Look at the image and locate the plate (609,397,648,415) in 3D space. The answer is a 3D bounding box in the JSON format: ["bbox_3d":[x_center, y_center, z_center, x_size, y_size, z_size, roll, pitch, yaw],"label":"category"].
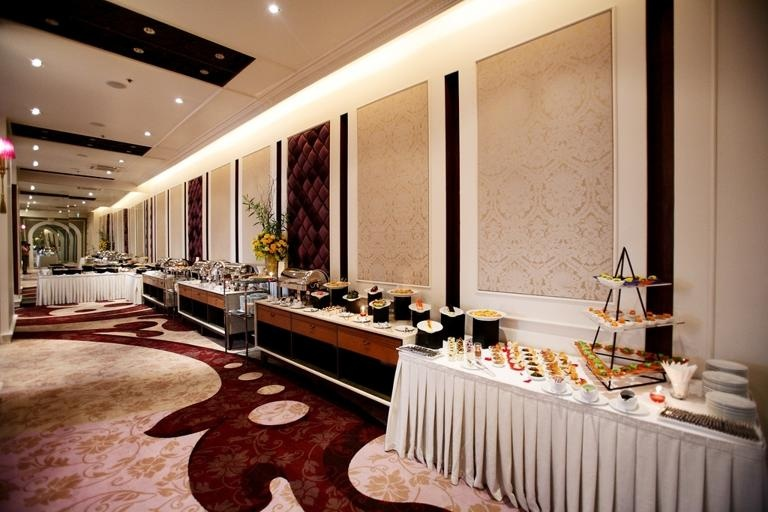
[{"bbox_3d":[2.049,1.246,3.924,0.307,0.117,0.158,0,7,0],"label":"plate"}]

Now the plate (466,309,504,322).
[{"bbox_3d":[1.084,0.624,4.963,0.342,0.093,0.315,4,8,25],"label":"plate"}]

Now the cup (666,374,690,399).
[{"bbox_3d":[2.525,1.127,4.123,0.199,0.214,0.192,0,-3,0],"label":"cup"}]

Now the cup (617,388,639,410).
[{"bbox_3d":[2.047,1.196,3.949,0.116,0.155,0.137,-21,11,33],"label":"cup"}]

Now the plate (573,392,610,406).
[{"bbox_3d":[1.773,1.219,4.011,0.295,0.072,0.130,1,7,6],"label":"plate"}]

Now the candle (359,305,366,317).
[{"bbox_3d":[-0.253,0.662,5.600,0.098,0.108,0.097,2,4,15],"label":"candle"}]

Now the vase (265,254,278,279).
[{"bbox_3d":[-1.663,0.143,6.998,0.158,0.344,0.266,-2,8,-16],"label":"vase"}]

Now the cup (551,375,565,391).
[{"bbox_3d":[1.523,1.114,4.106,0.097,0.115,0.119,-3,-14,18],"label":"cup"}]

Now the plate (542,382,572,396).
[{"bbox_3d":[1.512,1.167,4.115,0.150,0.049,0.147,-2,-1,40],"label":"plate"}]

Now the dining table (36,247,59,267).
[{"bbox_3d":[-14.488,0.050,20.203,0.870,0.535,0.891,0,3,33],"label":"dining table"}]

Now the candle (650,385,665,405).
[{"bbox_3d":[2.339,1.184,4.051,0.124,0.161,0.124,0,-16,23],"label":"candle"}]

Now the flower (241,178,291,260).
[{"bbox_3d":[-1.826,-0.503,7.369,0.550,1.283,1.421,-2,8,-16],"label":"flower"}]

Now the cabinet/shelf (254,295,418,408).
[{"bbox_3d":[-0.593,1.145,6.116,0.862,1.012,2.937,-7,10,-44],"label":"cabinet/shelf"}]
